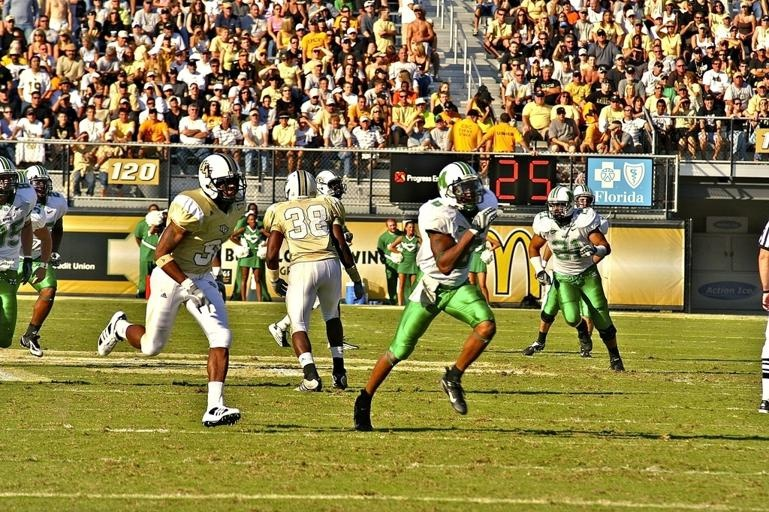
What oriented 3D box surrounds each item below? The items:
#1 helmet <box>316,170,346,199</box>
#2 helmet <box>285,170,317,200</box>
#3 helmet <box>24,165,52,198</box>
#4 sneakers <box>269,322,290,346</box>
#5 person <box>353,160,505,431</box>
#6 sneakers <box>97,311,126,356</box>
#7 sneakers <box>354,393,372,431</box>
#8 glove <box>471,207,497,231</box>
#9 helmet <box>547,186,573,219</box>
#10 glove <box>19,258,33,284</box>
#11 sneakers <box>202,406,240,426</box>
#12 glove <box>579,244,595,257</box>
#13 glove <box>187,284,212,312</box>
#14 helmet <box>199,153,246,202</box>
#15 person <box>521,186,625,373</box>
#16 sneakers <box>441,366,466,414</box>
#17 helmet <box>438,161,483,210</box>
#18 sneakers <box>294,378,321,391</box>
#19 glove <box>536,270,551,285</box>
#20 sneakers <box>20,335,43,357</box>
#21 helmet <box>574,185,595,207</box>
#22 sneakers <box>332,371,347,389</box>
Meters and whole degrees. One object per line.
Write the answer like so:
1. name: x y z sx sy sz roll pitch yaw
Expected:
1. helmet: -0.731 -0.956 19.848 0.396 0.343 0.318 6 6 10
2. helmet: -1.105 -0.946 19.384 0.317 0.378 0.423 -2 12 -17
3. helmet: -4.719 -1.067 20.106 0.325 0.366 0.429 0 7 -44
4. sneakers: -1.475 1.101 20.456 0.200 0.434 0.147 -28 22 8
5. person: 0.578 0.454 17.457 1.476 3.153 0.619 0 1 3
6. sneakers: -3.594 1.054 19.305 0.238 0.668 0.285 36 28 0
7. sneakers: -0.255 1.820 17.335 0.223 0.485 0.261 0 2 -2
8. glove: 1.173 -0.435 17.235 0.304 0.275 0.208 0 2 -6
9. helmet: 2.475 -0.754 20.755 0.334 0.376 0.459 -2 0 16
10. glove: -4.646 0.197 19.031 0.097 0.299 0.223 0 31 -31
11. sneakers: -1.893 1.860 17.038 0.494 0.255 0.181 -7 1 5
12. glove: 2.812 -0.084 20.471 0.196 0.133 0.307 0 2 -14
13. glove: -2.169 0.501 17.110 0.210 0.296 0.118 -43 -9 -15
14. helmet: -1.987 -0.948 17.372 0.609 0.504 0.454 8 13 32
15. person: 2.704 0.282 20.837 1.503 2.544 1.086 1 2 17
16. sneakers: 0.823 1.631 17.586 0.190 0.569 0.274 -11 -23 -27
17. helmet: 0.879 -0.828 17.483 0.469 0.502 0.584 -5 11 -32
18. sneakers: -0.984 1.600 18.325 0.390 0.176 0.134 2 34 21
19. glove: 2.248 0.298 20.750 0.203 0.189 0.270 0 2 5
20. sneakers: -4.890 1.255 20.221 0.314 0.210 0.106 36 21 10
21. helmet: 2.971 -0.889 21.915 0.259 0.298 0.352 2 3 -4
22. sneakers: -0.584 1.594 18.817 0.211 0.194 0.164 -5 9 -22
